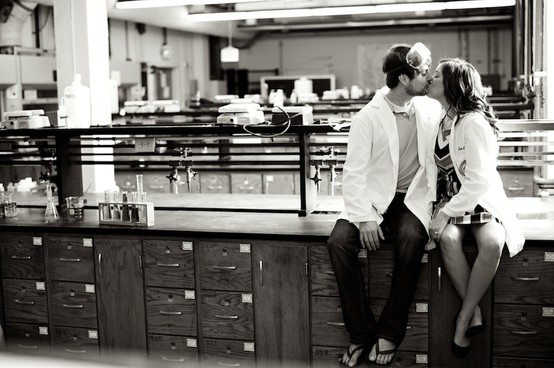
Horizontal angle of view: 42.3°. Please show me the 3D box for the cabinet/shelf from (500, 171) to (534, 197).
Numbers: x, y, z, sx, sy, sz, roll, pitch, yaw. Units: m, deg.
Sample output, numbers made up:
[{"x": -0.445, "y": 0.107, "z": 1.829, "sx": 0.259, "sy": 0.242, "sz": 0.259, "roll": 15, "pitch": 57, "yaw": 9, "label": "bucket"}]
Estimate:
[{"x": 2.737, "y": -0.034, "z": 8.239, "sx": 0.418, "sy": 0.382, "sz": 0.280, "roll": -1, "pitch": 3, "yaw": 10, "label": "cabinet/shelf"}]

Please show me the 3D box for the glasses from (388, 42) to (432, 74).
[{"x": 1.075, "y": -0.988, "z": 5.797, "sx": 0.297, "sy": 0.115, "sz": 0.230, "roll": -14, "pitch": 23, "yaw": 11, "label": "glasses"}]

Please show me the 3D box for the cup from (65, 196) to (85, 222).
[{"x": -1.799, "y": 0.212, "z": 6.461, "sx": 0.170, "sy": 0.198, "sz": 0.199, "roll": 0, "pitch": 0, "yaw": -14, "label": "cup"}]

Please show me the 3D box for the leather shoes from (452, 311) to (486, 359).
[{"x": 1.491, "y": 1.221, "z": 5.595, "sx": 0.163, "sy": 0.447, "sz": 0.166, "roll": 12, "pitch": 12, "yaw": 7, "label": "leather shoes"}]

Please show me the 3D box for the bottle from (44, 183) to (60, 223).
[{"x": -2.032, "y": 0.156, "z": 6.445, "sx": 0.123, "sy": 0.306, "sz": 0.364, "roll": -4, "pitch": 6, "yaw": -18, "label": "bottle"}]
